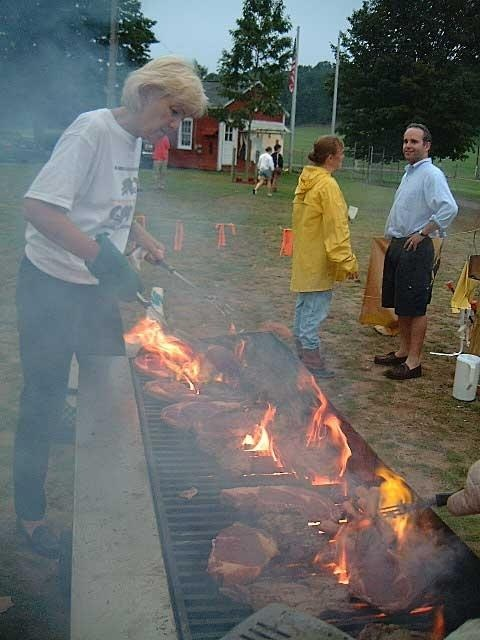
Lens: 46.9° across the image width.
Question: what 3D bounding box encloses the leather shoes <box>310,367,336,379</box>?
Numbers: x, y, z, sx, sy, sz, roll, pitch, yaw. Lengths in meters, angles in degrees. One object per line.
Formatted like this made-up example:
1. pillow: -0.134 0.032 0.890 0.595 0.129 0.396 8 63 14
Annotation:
1. leather shoes: 0.662 0.420 4.436 0.240 0.096 0.079 -2 13 -4

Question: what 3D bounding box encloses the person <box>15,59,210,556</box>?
1. person: -0.572 -0.034 2.264 0.700 1.925 0.593 -2 13 -22

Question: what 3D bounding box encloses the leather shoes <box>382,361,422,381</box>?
1. leather shoes: 1.345 0.429 4.555 0.292 0.106 0.130 2 0 -15

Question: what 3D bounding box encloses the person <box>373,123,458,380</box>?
1. person: 1.429 -0.547 4.490 0.442 2.037 0.635 4 12 6

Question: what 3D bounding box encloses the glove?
1. glove: -0.451 -0.192 2.043 0.256 0.142 0.091 45 5 -40

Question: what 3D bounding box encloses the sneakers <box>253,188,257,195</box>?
1. sneakers: 0.519 -4.413 19.149 0.105 0.121 0.306 5 -33 10

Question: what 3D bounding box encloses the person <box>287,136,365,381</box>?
1. person: 0.694 -0.538 4.555 0.451 1.896 0.672 -2 13 -23

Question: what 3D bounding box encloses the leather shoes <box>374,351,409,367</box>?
1. leather shoes: 1.318 0.344 4.829 0.293 0.106 0.102 3 5 2
